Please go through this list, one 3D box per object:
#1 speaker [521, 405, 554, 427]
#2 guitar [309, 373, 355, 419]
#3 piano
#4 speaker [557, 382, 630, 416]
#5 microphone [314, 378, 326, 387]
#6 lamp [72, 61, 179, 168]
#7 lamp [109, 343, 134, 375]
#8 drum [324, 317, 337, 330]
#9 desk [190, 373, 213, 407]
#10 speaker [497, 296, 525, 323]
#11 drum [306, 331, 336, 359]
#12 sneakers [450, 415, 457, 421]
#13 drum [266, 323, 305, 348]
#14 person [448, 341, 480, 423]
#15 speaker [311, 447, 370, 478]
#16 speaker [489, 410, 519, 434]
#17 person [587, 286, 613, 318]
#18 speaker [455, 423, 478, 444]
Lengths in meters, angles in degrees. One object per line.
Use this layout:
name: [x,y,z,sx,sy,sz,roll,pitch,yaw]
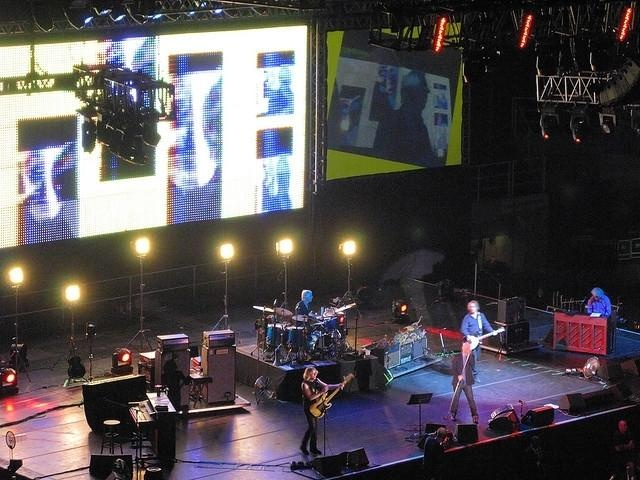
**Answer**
speaker: [5.060,4.124,24.376,0.709,0.434,0.476,-4,13,-32]
guitar: [0.246,3.656,24.328,1.506,0.440,0.210,-41,-5,-24]
piano: [-3.542,4.064,23.186,1.162,1.577,2.170,-1,9,-16]
speaker: [6.702,3.892,25.441,1.849,0.459,0.626,-6,7,-28]
microphone: [-0.006,3.197,23.320,0.276,0.083,0.281,20,-14,45]
lamp: [-5.244,-3.392,27.703,1.412,1.804,2.659,-10,30,-41]
lamp: [-5.049,3.135,26.769,0.533,0.609,0.479,-4,7,-10]
drum: [0.277,2.146,26.534,0.309,0.255,0.292,3,13,2]
desk: [-2.747,3.622,25.429,0.659,0.765,1.150,1,2,-14]
speaker: [5.375,2.018,29.504,0.719,0.599,0.259,-5,8,-35]
drum: [0.081,2.688,26.389,0.609,0.734,0.321,-4,17,-12]
sneakers: [3.140,4.211,24.655,0.123,0.142,0.158,-1,4,24]
drum: [-0.898,2.438,26.295,0.812,0.402,0.599,4,0,8]
person: [3.362,3.292,24.801,0.719,1.932,1.398,-2,7,7]
speaker: [0.463,4.757,22.171,0.906,0.295,0.592,-3,1,-28]
speaker: [4.233,4.201,24.084,0.596,0.362,0.569,0,-1,9]
person: [7.750,1.753,29.094,0.656,0.761,0.516,-1,7,14]
speaker: [3.229,4.310,23.409,0.620,0.527,0.389,1,4,-2]
